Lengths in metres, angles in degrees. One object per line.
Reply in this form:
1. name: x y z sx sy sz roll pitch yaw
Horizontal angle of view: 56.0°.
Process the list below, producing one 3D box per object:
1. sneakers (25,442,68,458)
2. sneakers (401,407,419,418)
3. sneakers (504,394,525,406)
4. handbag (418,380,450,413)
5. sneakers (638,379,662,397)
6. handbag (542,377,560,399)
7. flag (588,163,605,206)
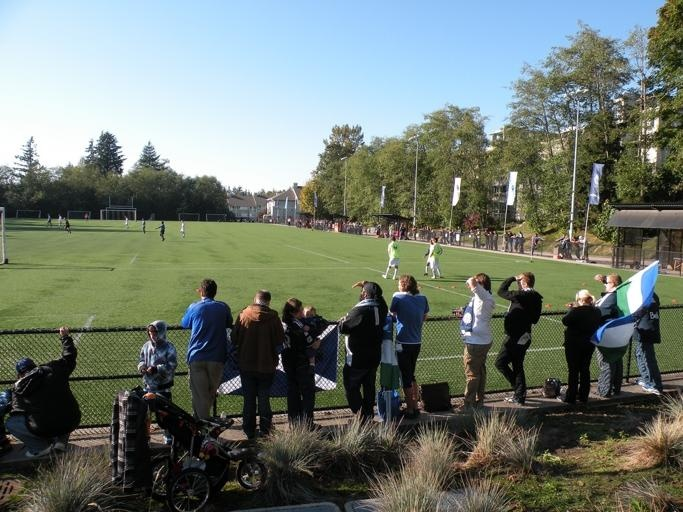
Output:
1. sneakers: -4.002 2.628 8.795 0.560 0.239 0.196 6 -8 -20
2. sneakers: 1.097 2.463 10.105 0.281 0.153 0.248 2 2 8
3. sneakers: 2.924 2.415 10.795 0.127 0.142 0.291 5 0 -40
4. handbag: 1.504 2.293 10.406 0.385 0.420 0.132 -1 -8 -11
5. sneakers: 5.416 2.321 11.300 0.125 0.162 0.339 -13 20 -34
6. handbag: 3.618 2.264 11.007 0.242 0.325 0.320 4 -18 -7
7. flag: 15.193 -4.239 38.216 0.728 2.459 0.156 3 7 -3
